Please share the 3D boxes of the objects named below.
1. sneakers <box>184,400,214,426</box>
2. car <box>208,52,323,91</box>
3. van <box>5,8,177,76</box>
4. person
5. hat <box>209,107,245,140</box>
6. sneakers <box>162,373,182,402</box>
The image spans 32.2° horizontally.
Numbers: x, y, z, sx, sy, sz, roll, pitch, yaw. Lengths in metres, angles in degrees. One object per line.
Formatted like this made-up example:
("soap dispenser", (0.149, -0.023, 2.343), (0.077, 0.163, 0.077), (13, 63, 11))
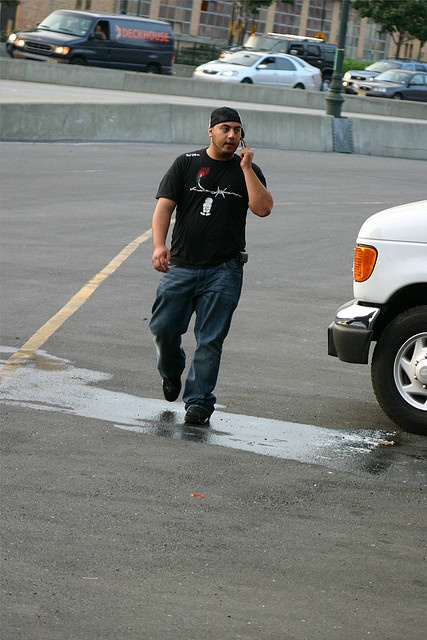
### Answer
("sneakers", (-0.088, 0.549, 4.358), (0.169, 0.125, 0.130), (2, 11, -15))
("car", (2.393, -11.546, 34.453), (6.051, 1.628, 2.456), (-4, 14, -39))
("van", (-4.692, -11.620, 30.665), (5.837, 2.516, 2.366), (-5, 15, -44))
("person", (-0.127, -0.335, 4.400), (0.563, 1.840, 0.482), (9, 12, 16))
("hat", (0.063, -1.173, 4.362), (0.193, 0.172, 0.237), (-1, 16, -7))
("sneakers", (-0.264, 0.427, 4.684), (0.074, 0.189, 0.085), (-2, 30, 4))
